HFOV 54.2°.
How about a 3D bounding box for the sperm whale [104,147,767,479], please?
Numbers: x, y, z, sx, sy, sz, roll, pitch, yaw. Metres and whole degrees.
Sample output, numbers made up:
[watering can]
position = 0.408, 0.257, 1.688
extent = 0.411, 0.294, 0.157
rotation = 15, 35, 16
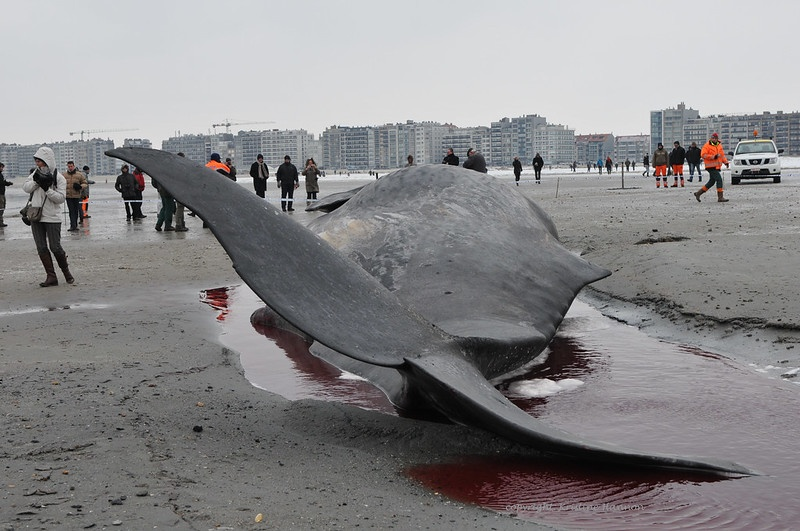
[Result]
[sperm whale]
position = 0.201, 0.060, 6.766
extent = 3.376, 2.279, 3.576
rotation = 4, 15, 14
